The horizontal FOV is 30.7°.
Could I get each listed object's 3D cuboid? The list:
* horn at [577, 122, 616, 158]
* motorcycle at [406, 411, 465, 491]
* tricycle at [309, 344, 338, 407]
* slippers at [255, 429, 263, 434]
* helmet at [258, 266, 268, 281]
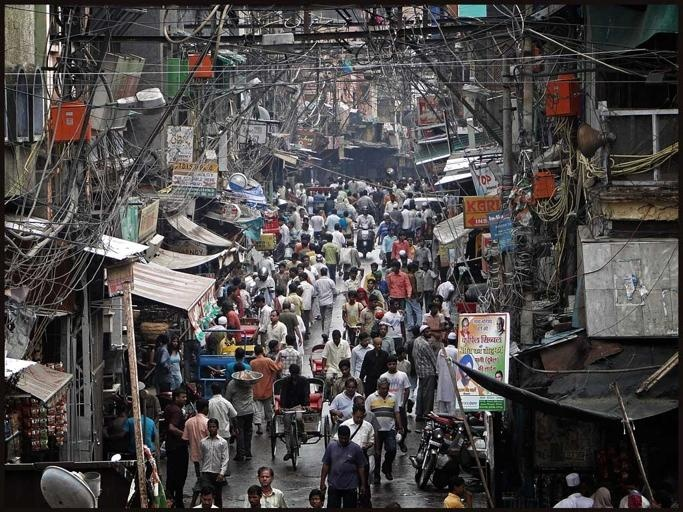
[{"bbox_3d":[4.511,-2.043,21.990,0.511,0.684,0.679,3,3,23],"label":"horn"},{"bbox_3d":[1.600,3.312,21.185,0.793,1.255,0.909,-2,3,-5],"label":"motorcycle"},{"bbox_3d":[-0.416,2.368,24.643,0.369,0.598,0.947,-4,36,-1],"label":"tricycle"},{"bbox_3d":[-1.613,3.404,23.984,0.110,0.124,0.072,2,4,17],"label":"slippers"},{"bbox_3d":[-1.915,0.434,29.886,0.207,0.261,0.272,-2,35,-2],"label":"helmet"}]
